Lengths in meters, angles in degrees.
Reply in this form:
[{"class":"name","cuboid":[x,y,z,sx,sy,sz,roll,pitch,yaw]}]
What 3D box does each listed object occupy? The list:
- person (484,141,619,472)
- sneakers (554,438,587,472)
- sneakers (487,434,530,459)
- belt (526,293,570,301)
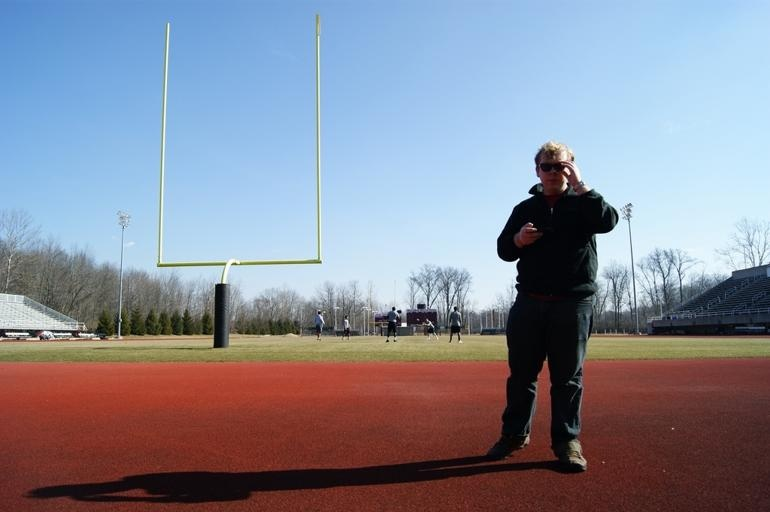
[{"class":"person","cuboid":[1.303,0.370,4.474,0.886,2.487,0.511,0,-9,12]},{"class":"sneakers","cuboid":[1.448,1.501,4.283,0.123,0.134,0.302,5,5,10]},{"class":"sneakers","cuboid":[0.958,1.496,4.531,0.392,0.182,0.140,-7,11,-24]},{"class":"belt","cuboid":[1.260,0.323,4.425,0.285,0.053,0.047,-3,-10,26]}]
